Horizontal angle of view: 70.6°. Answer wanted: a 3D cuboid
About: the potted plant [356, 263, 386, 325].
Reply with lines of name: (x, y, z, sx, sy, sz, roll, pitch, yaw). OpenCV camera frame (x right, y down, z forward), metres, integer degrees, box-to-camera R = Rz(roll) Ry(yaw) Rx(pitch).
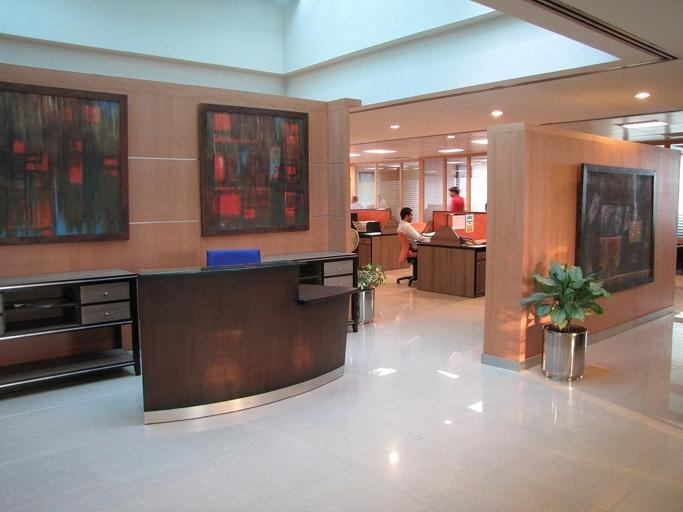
potted plant: (0.353, 0.582, 7.781, 0.699, 0.937, 0.671, 3, 6, -2)

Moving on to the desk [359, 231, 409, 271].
desk: (0.982, -0.060, 12.510, 0.693, 0.840, 1.260, -5, 2, 44)

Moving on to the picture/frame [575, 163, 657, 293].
picture/frame: (3.611, -0.403, 6.460, 0.083, 1.347, 1.968, 3, 5, 44)

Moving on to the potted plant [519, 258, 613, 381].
potted plant: (2.534, 0.802, 5.422, 0.946, 1.069, 0.842, 3, 2, -6)

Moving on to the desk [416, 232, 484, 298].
desk: (2.030, 0.257, 10.441, 1.214, 1.513, 1.642, 8, -19, -6)

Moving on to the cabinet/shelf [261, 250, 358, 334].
cabinet/shelf: (-0.369, 0.394, 5.396, 1.238, 1.019, 0.465, -2, 2, -37)
